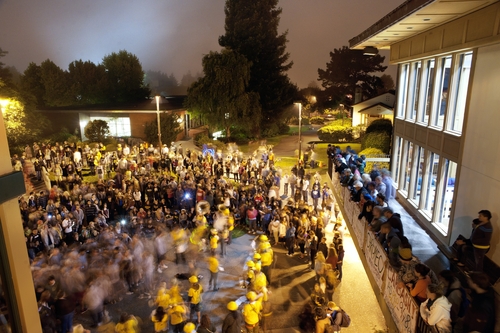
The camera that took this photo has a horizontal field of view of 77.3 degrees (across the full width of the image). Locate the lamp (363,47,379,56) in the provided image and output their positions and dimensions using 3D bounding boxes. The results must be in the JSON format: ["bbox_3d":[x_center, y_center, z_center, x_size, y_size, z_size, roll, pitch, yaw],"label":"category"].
[{"bbox_3d":[7.354,-7.096,19.039,0.788,0.562,1.152,0,13,21],"label":"lamp"}]
